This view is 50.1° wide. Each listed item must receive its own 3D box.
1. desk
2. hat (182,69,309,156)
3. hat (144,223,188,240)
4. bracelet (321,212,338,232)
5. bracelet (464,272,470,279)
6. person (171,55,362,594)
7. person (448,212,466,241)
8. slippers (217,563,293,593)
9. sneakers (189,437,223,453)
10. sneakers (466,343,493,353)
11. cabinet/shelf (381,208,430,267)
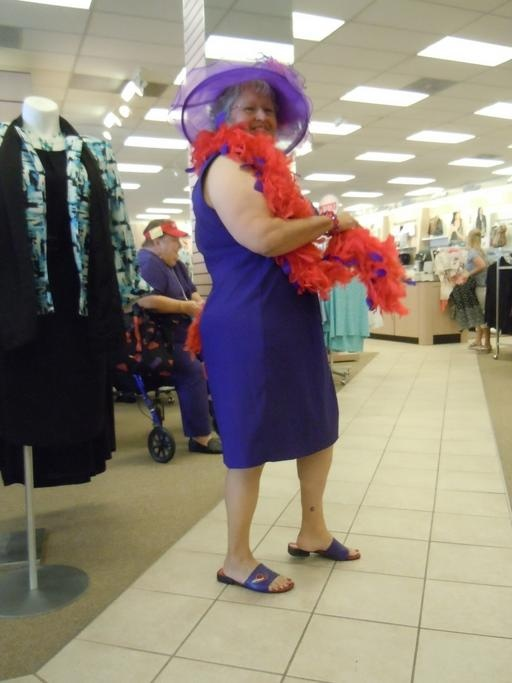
[{"bbox_3d":[2.468,-0.453,8.648,0.702,0.947,1.242,-4,3,-24],"label":"desk"},{"bbox_3d":[-0.048,-0.641,1.503,0.332,0.085,0.358,-5,-13,-2],"label":"hat"},{"bbox_3d":[-0.526,-0.621,3.140,0.211,0.065,0.127,-2,10,-9],"label":"hat"},{"bbox_3d":[0.190,-0.311,1.419,0.020,0.049,0.044,-3,29,-13],"label":"bracelet"},{"bbox_3d":[2.862,-0.909,7.408,0.057,0.075,0.020,5,13,4],"label":"bracelet"},{"bbox_3d":[0.063,-0.028,1.481,0.414,1.410,0.372,-5,3,-25],"label":"person"},{"bbox_3d":[4.270,-2.413,11.524,0.187,0.713,0.427,15,-16,-39],"label":"person"},{"bbox_3d":[0.000,0.640,1.525,0.188,0.059,0.078,-2,-4,27],"label":"slippers"},{"bbox_3d":[-0.278,0.572,3.049,0.161,0.054,0.082,-3,-2,13],"label":"sneakers"},{"bbox_3d":[2.955,0.080,7.251,0.109,0.101,0.292,-3,12,-35],"label":"sneakers"},{"bbox_3d":[3.415,-2.429,12.327,0.710,1.413,1.258,-4,3,-15],"label":"cabinet/shelf"}]
